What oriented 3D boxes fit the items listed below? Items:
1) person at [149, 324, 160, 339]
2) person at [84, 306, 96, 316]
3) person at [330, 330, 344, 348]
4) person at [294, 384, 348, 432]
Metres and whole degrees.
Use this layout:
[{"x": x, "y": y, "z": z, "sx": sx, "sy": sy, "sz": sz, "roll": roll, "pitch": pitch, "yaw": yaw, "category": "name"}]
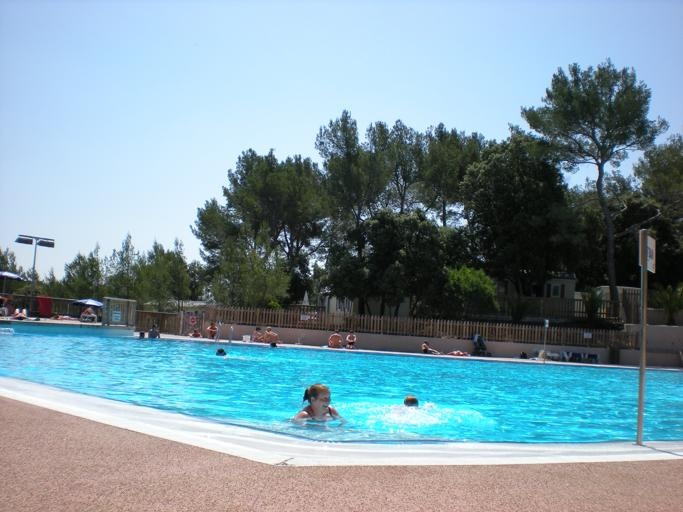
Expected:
[{"x": -10.412, "y": 4.302, "z": 30.383, "sx": 0.401, "sy": 1.144, "sz": 0.360, "roll": 3, "pitch": -2, "yaw": -8, "category": "person"}, {"x": -16.928, "y": 3.807, "z": 36.757, "sx": 0.519, "sy": 0.314, "sz": 0.691, "roll": 5, "pitch": -2, "yaw": -42, "category": "person"}, {"x": -0.272, "y": 4.566, "z": 28.887, "sx": 0.806, "sy": 1.188, "sz": 0.571, "roll": 7, "pitch": 15, "yaw": 9, "category": "person"}, {"x": -0.361, "y": 2.989, "z": 10.555, "sx": 0.779, "sy": 0.552, "sz": 0.808, "roll": -7, "pitch": -8, "yaw": 41, "category": "person"}]
